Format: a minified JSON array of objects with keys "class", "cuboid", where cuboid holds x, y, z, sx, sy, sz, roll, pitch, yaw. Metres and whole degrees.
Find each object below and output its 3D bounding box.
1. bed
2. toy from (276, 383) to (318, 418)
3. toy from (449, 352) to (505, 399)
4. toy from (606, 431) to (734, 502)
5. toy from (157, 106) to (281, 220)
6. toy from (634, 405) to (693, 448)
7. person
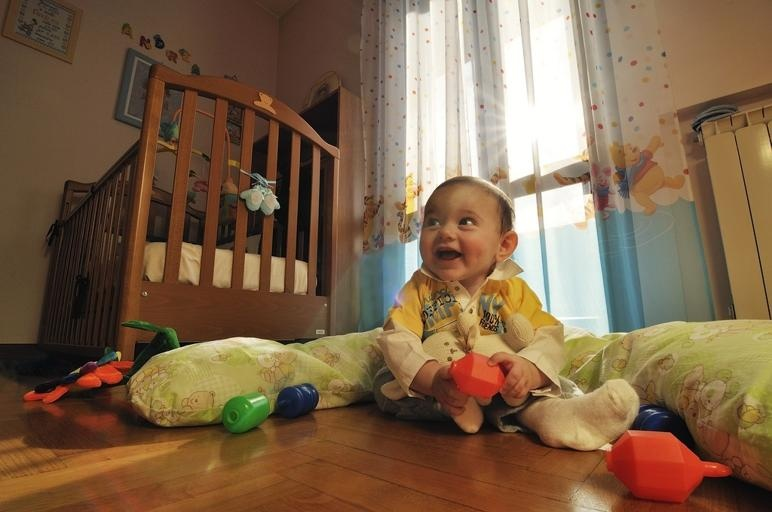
[{"class":"bed","cuboid":[-1.423,0.079,3.275,1.401,1.611,2.300,10,-14,-36]},{"class":"toy","cuboid":[-0.288,0.495,1.636,0.154,0.112,0.077,-13,19,-35]},{"class":"toy","cuboid":[0.277,0.342,1.395,0.187,0.103,0.148,12,-3,8]},{"class":"toy","cuboid":[0.704,0.520,1.209,0.244,0.136,0.149,1,-41,14]},{"class":"toy","cuboid":[-1.026,-0.589,2.858,0.516,0.544,1.197,-8,18,-23]},{"class":"toy","cuboid":[0.767,0.458,1.327,0.094,0.104,0.092,5,1,-8]},{"class":"person","cuboid":[0.368,0.149,1.514,0.797,0.792,0.518,0,-1,40]}]
